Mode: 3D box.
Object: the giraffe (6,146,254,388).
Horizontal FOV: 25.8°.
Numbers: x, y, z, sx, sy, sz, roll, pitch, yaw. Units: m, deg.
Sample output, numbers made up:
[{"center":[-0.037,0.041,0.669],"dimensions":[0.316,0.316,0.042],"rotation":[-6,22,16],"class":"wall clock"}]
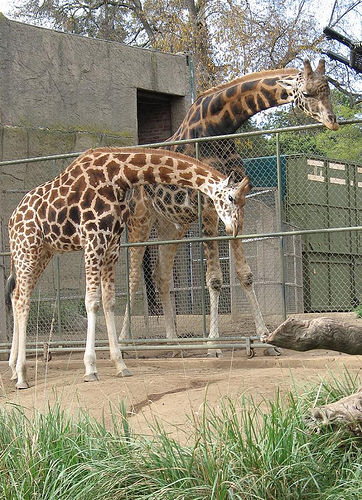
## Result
[{"center":[-0.598,0.115,6.256],"dimensions":[2.004,1.917,0.660],"rotation":[-3,-2,16],"class":"giraffe"}]
